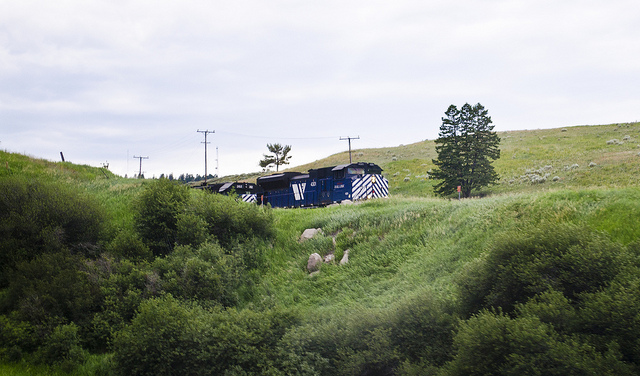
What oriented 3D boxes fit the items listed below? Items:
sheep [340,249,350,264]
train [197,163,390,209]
[{"bbox_3d":[2.069,5.667,65.683,0.789,0.945,1.191,-3,1,9],"label":"sheep"},{"bbox_3d":[-2.644,0.399,86.164,4.618,4.611,20.290,-11,1,-42],"label":"train"}]
